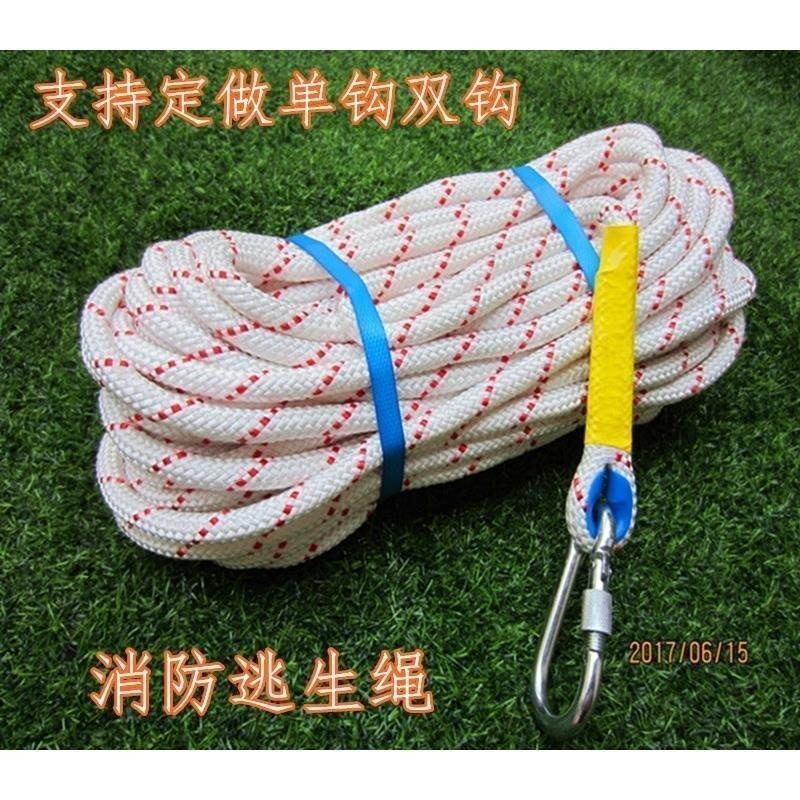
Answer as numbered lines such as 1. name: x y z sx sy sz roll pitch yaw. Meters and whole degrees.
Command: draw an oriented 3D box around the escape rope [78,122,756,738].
1. escape rope: 0.097 -0.013 1.318 0.993 0.250 0.601 -17 88 -15
